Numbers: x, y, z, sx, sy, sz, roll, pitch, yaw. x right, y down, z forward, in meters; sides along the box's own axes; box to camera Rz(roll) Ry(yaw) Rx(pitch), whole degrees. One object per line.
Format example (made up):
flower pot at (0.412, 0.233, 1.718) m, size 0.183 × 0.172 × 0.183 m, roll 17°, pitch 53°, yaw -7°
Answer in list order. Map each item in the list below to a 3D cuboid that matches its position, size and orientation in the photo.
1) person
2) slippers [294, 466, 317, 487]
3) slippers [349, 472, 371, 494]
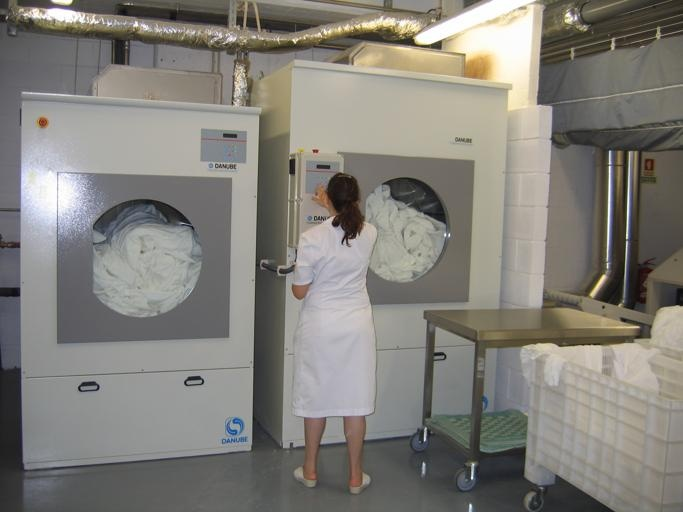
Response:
person at (-0.036, 0.449, 3.139) m, size 0.466 × 1.777 × 0.297 m, roll 2°, pitch 10°, yaw 2°
slippers at (-0.205, 1.280, 3.271) m, size 0.066 × 0.066 × 0.149 m, roll 0°, pitch 9°, yaw -24°
slippers at (0.113, 1.295, 3.255) m, size 0.053 × 0.070 × 0.154 m, roll 2°, pitch 8°, yaw 20°
